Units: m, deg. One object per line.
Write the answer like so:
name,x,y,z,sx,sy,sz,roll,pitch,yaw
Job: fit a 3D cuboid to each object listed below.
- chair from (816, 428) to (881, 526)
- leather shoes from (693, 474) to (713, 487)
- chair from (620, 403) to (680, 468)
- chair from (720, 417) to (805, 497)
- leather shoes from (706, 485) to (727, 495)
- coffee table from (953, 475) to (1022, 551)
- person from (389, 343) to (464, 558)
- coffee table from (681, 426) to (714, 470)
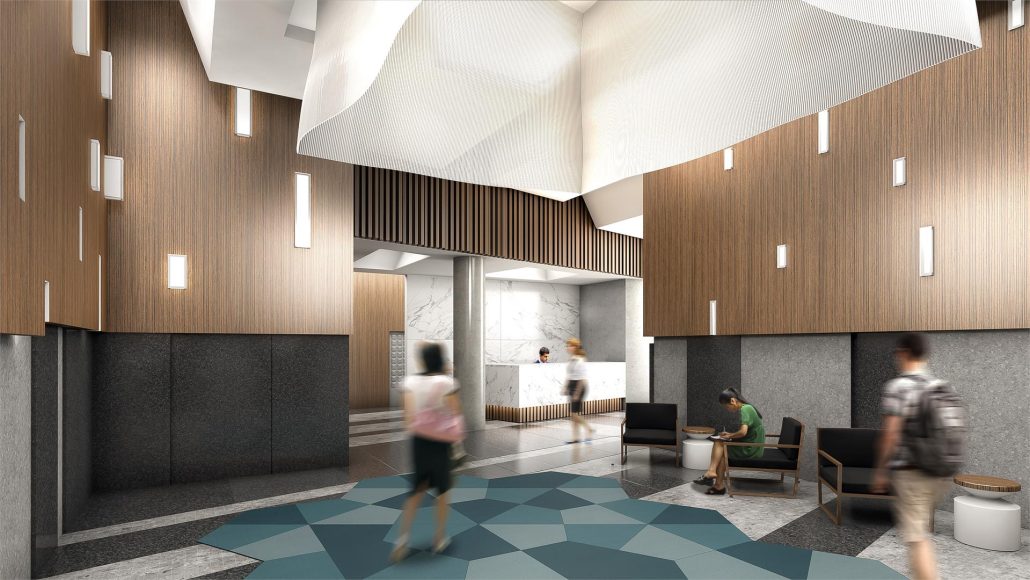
chair,5.418,2.811,9.757,1.330,1.062,0.991,-4,4,0
leather shoes,3.238,3.267,10.859,0.398,0.140,0.133,-1,-10,29
chair,2.616,2.773,12.316,1.069,0.950,0.842,0,4,13
chair,4.326,2.853,11.260,1.302,1.068,1.611,0,-4,15
leather shoes,3.339,3.337,10.586,0.346,0.117,0.126,2,-7,2
coffee table,6.860,3.217,9.375,1.013,0.979,0.979,4,-6,-39
person,-1.247,2.173,8.765,1.002,2.951,0.933,-3,13,-10
coffee table,3.349,3.002,12.165,0.770,0.734,0.711,1,-6,-4
